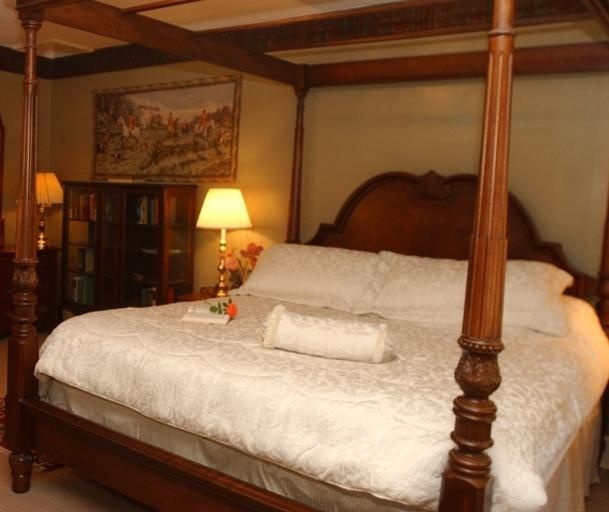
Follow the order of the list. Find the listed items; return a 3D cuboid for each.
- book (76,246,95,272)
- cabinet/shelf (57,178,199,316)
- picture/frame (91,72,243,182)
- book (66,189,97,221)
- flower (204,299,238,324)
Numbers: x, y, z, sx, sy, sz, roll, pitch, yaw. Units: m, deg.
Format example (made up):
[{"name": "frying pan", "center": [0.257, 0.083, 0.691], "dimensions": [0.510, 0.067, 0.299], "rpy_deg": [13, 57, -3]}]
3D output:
[{"name": "book", "center": [-2.409, 0.028, 5.918], "dimensions": [0.178, 0.256, 0.255], "rpy_deg": [4, 4, 36]}, {"name": "cabinet/shelf", "center": [-1.934, 0.001, 5.841], "dimensions": [1.467, 1.486, 0.482], "rpy_deg": [5, 3, 27]}, {"name": "picture/frame", "center": [-1.565, -1.366, 5.852], "dimensions": [2.123, 1.068, 0.027], "rpy_deg": [6, 9, 29]}, {"name": "book", "center": [-2.439, -0.572, 5.888], "dimensions": [0.344, 0.333, 0.198], "rpy_deg": [3, 2, 39]}, {"name": "flower", "center": [-0.500, 0.344, 3.335], "dimensions": [0.155, 0.092, 0.158], "rpy_deg": [9, 16, 31]}]
